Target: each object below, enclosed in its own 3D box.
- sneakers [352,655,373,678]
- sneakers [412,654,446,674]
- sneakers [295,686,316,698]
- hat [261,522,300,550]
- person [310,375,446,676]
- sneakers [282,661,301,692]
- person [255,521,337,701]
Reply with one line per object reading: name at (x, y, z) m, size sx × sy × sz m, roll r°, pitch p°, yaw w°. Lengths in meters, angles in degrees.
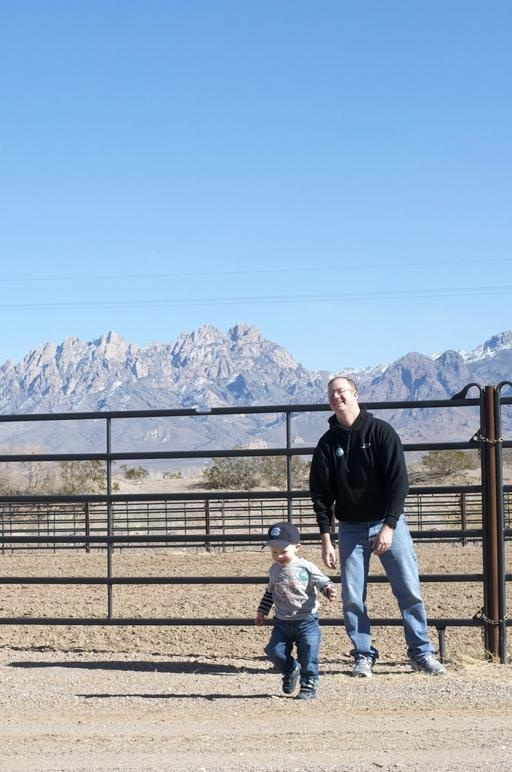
sneakers at (0.643, 1.692, 8.628) m, size 0.125 × 0.117 × 0.189 m, roll 2°, pitch -2°, yaw 4°
sneakers at (1.044, 1.687, 8.669) m, size 0.081 × 0.090 × 0.200 m, roll -1°, pitch -14°, yaw -21°
sneakers at (0.291, 1.755, 8.184) m, size 0.117 × 0.074 × 0.093 m, roll 2°, pitch -2°, yaw -7°
hat at (0.158, 0.868, 8.372) m, size 0.189 × 0.136 × 0.174 m, roll 2°, pitch -2°, yaw -2°
person at (0.711, 0.849, 8.713) m, size 0.767 × 1.812 × 0.589 m, roll 2°, pitch -2°, yaw -21°
sneakers at (0.201, 1.700, 8.337) m, size 0.097 × 0.179 × 0.189 m, roll 2°, pitch -2°, yaw 1°
person at (0.234, 1.298, 8.377) m, size 0.536 × 0.989 × 0.429 m, roll 1°, pitch -2°, yaw 17°
